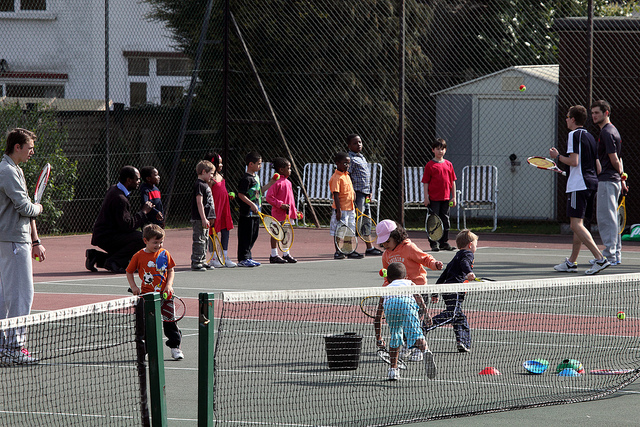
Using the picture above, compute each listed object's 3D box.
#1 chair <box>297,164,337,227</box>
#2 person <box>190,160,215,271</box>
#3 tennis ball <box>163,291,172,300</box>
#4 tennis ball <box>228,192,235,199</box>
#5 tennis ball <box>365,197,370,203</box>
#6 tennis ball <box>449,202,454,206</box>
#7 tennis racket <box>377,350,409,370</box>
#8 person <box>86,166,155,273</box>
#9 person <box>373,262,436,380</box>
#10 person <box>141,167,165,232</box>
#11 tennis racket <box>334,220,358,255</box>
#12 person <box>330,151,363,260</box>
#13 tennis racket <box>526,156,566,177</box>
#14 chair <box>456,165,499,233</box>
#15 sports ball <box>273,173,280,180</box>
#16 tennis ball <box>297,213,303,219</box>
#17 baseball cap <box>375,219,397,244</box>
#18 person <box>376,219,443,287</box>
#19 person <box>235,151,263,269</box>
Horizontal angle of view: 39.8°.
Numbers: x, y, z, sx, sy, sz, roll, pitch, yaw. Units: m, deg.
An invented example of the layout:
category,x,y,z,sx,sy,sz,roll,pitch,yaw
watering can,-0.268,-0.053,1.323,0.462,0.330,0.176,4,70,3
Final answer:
category,x,y,z,sx,sy,sz,roll,pitch,yaw
chair,0.019,-0.397,20.099,0.790,1.562,1.029,-1,5,-7
person,-1.944,0.075,14.682,0.397,1.876,0.681,-2,9,-8
tennis ball,-1.669,0.913,9.813,0.060,0.097,0.093,5,14,-12
tennis ball,-1.604,-0.344,16.141,0.166,0.108,0.249,1,1,-1
tennis ball,0.887,-0.261,16.787,0.047,0.096,0.090,-2,0,28
tennis ball,2.509,-0.184,16.950,0.080,0.084,0.219,1,10,12
tennis racket,0.779,1.596,9.586,0.322,0.067,0.199,37,7,-4
person,-3.310,0.079,14.729,1.216,2.221,1.005,-3,25,-24
person,0.894,1.237,9.301,0.639,1.027,0.584,0,9,4
person,-2.758,-0.259,14.663,0.327,1.055,0.877,-2,9,-12
tennis racket,0.454,0.450,16.181,0.137,0.645,0.370,-3,29,48
person,0.397,-0.127,16.108,0.701,1.948,0.472,-9,12,-43
tennis racket,4.420,-0.925,17.278,0.825,0.044,0.373,24,11,16
chair,3.627,-0.328,20.412,0.853,1.615,1.012,1,2,17
sports ball,-0.755,-0.645,15.436,0.113,0.106,0.282,-1,10,-5
tennis ball,-0.363,0.051,16.129,0.078,0.050,0.115,-6,7,1
baseball cap,0.809,0.233,10.684,0.176,0.150,0.281,-7,34,48
person,1.247,0.562,12.234,0.464,0.965,0.695,3,-15,-41
person,-1.213,-0.056,15.241,0.484,1.956,0.501,-3,9,-15
